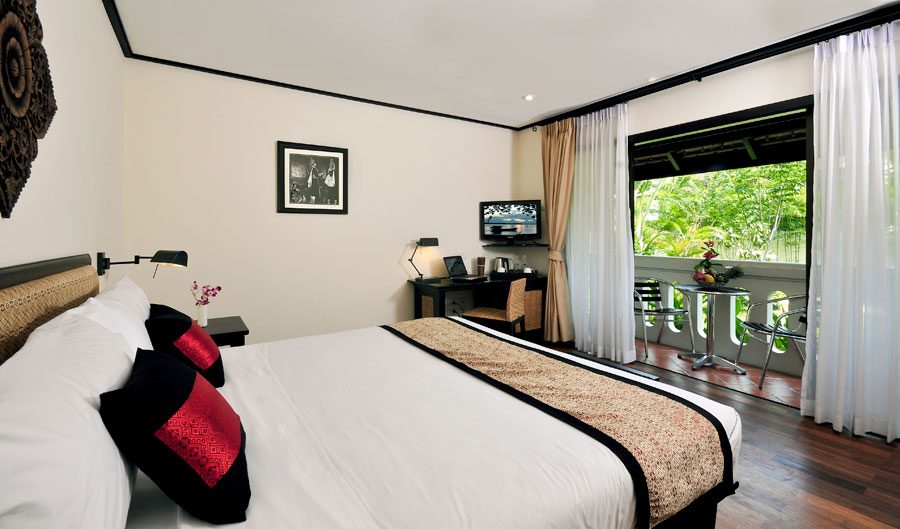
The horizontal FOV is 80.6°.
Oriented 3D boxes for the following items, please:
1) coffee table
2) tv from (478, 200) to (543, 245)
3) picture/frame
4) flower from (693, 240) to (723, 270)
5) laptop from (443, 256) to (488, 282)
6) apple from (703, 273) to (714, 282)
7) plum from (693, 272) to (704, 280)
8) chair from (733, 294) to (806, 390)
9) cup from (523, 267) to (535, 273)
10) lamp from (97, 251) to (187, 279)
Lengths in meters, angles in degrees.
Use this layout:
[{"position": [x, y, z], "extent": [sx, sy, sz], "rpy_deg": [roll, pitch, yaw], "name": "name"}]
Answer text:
[{"position": [2.959, 0.706, 5.988], "extent": [0.720, 0.840, 0.771], "rpy_deg": [1, 1, -37], "name": "coffee table"}, {"position": [0.793, -0.573, 6.914], "extent": [0.594, 0.412, 0.175], "rpy_deg": [0, 0, -1], "name": "tv"}, {"position": [-1.524, -0.974, 5.807], "extent": [0.850, 0.809, 0.055], "rpy_deg": [-1, 5, -30], "name": "picture/frame"}, {"position": [3.369, -0.141, 6.929], "extent": [0.417, 0.432, 0.404], "rpy_deg": [4, 8, 25], "name": "flower"}, {"position": [0.160, 0.049, 6.659], "extent": [0.375, 0.248, 0.414], "rpy_deg": [-1, 0, 36], "name": "laptop"}, {"position": [2.835, 0.135, 5.788], "extent": [0.090, 0.069, 0.068], "rpy_deg": [25, 37, 7], "name": "apple"}, {"position": [2.734, 0.118, 5.790], "extent": [0.091, 0.077, 0.078], "rpy_deg": [1, 9, -15], "name": "plum"}, {"position": [3.414, 0.791, 5.826], "extent": [0.687, 0.719, 0.694], "rpy_deg": [10, 18, -11], "name": "chair"}, {"position": [1.058, 0.073, 7.002], "extent": [0.117, 0.072, 0.121], "rpy_deg": [5, 14, -1], "name": "cup"}, {"position": [-2.775, -0.011, 4.740], "extent": [0.749, 0.272, 0.271], "rpy_deg": [-1, -2, 16], "name": "lamp"}]
